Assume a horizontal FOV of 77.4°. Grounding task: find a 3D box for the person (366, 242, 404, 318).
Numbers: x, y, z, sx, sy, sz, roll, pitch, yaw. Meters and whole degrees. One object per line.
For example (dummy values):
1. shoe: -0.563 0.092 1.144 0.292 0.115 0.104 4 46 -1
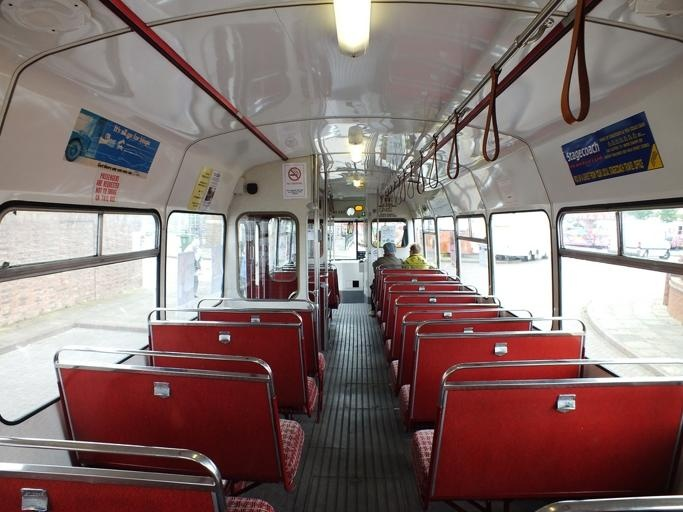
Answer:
1. person: 1.033 0.473 9.793 0.689 1.563 0.864 2 6 -11
